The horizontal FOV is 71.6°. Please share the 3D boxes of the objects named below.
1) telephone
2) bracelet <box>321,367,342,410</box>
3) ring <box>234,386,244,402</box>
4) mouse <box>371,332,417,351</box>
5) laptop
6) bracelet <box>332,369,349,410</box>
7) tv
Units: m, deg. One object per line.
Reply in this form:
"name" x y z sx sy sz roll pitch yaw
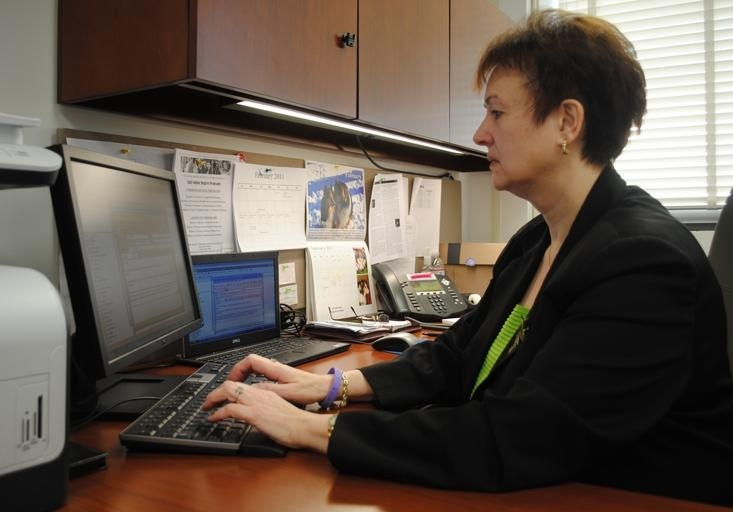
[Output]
"telephone" 0.217 0.139 2.045 0.381 0.166 0.302 -1 13 -33
"bracelet" -0.071 0.290 1.115 0.018 0.071 0.054 19 -23 -31
"ring" -0.247 0.263 0.985 0.004 0.017 0.017 24 27 -41
"mouse" 0.088 0.247 1.521 0.089 0.029 0.064 -2 -4 36
"laptop" -0.260 0.149 1.434 0.311 0.271 0.421 8 4 26
"bracelet" -0.052 0.299 1.123 0.015 0.063 0.046 3 -16 -30
"tv" -0.558 0.057 1.158 0.202 0.560 0.575 -3 3 -2
